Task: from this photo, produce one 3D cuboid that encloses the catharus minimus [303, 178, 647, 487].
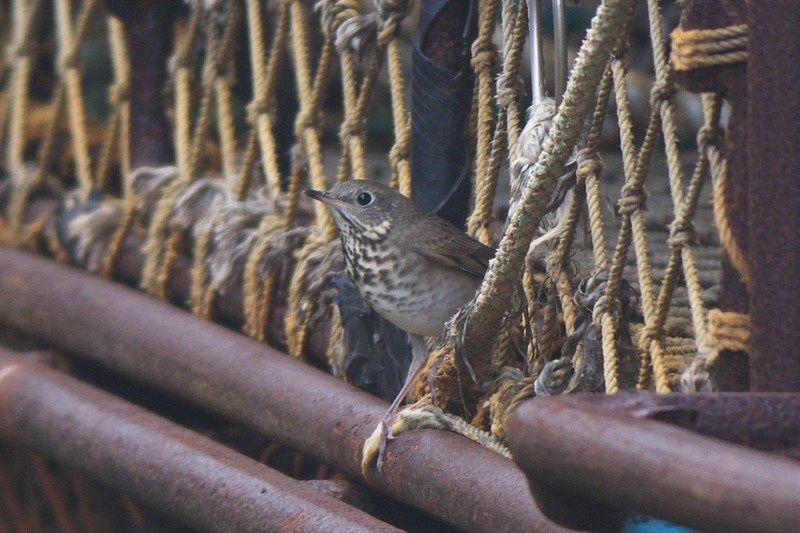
[{"bbox_3d":[0.152,0.107,3.268,0.695,0.456,0.232,8,-17,-31],"label":"catharus minimus"}]
